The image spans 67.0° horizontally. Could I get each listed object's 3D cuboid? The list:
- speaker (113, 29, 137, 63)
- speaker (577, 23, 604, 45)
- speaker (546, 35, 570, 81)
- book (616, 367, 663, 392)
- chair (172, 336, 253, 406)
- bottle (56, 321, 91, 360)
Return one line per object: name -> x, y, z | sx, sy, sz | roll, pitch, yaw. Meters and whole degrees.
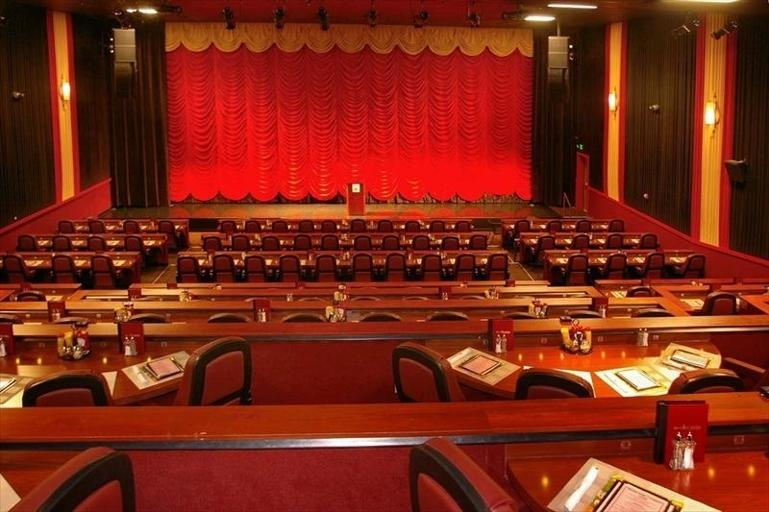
speaker -> -5.867, -4.718, 13.024 | 0.443, 0.789, 0.342 | -3, 6, -15
speaker -> 6.324, -6.798, 17.792 | 0.434, 0.542, 0.795 | -5, 7, -20
speaker -> 3.936, -4.468, 13.188 | 0.386, 1.224, 0.907 | 1, 6, 21
book -> 2.102, 1.035, 4.862 | 0.249, 0.101, 0.332 | -2, 5, -7
chair -> -1.167, 0.825, 4.118 | 0.473, 0.549, 0.476 | -6, 22, -31
bottle -> -2.843, 0.783, 5.320 | 0.294, 0.331, 0.313 | 3, -5, -1
